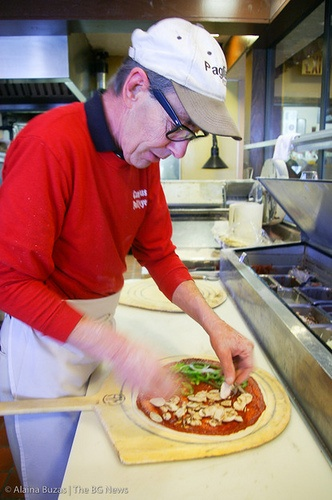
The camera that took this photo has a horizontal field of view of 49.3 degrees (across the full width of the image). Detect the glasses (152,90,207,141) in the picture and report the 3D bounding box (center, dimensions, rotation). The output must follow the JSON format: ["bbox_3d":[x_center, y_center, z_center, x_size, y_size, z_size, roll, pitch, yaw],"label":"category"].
[{"bbox_3d":[0.023,-0.258,0.738,0.027,0.102,0.096,-17,-4,22],"label":"glasses"}]

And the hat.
[{"bbox_3d":[0.024,-0.346,0.772,0.282,0.149,0.183,45,29,20],"label":"hat"}]

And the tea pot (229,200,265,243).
[{"bbox_3d":[0.429,-0.148,1.903,0.188,0.203,0.124,15,-11,-36],"label":"tea pot"}]

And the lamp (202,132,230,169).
[{"bbox_3d":[0.836,-1.700,6.239,0.464,0.552,0.488,-2,14,-5],"label":"lamp"}]

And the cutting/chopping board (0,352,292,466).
[{"bbox_3d":[0.035,0.286,0.673,0.318,0.016,0.199,-1,11,-10],"label":"cutting/chopping board"}]
